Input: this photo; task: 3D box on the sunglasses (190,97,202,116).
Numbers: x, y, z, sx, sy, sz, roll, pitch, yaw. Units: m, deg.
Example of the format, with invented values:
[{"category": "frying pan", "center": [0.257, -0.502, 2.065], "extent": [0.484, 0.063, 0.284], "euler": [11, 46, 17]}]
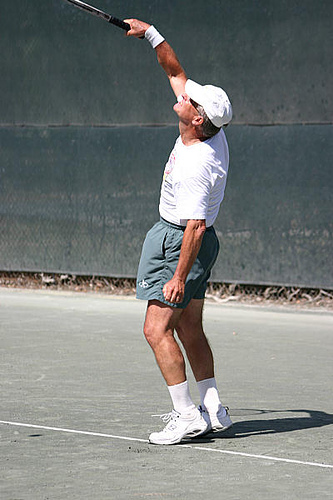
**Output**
[{"category": "sunglasses", "center": [0.136, -0.663, 4.242], "extent": [0.025, 0.078, 0.053], "euler": [-9, -3, 20]}]

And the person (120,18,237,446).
[{"category": "person", "center": [0.106, 0.038, 4.270], "extent": [0.466, 1.660, 0.448], "euler": [0, 3, -7]}]

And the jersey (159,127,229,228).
[{"category": "jersey", "center": [0.124, -0.331, 4.242], "extent": [0.271, 0.509, 0.270], "euler": [5, 14, 19]}]
